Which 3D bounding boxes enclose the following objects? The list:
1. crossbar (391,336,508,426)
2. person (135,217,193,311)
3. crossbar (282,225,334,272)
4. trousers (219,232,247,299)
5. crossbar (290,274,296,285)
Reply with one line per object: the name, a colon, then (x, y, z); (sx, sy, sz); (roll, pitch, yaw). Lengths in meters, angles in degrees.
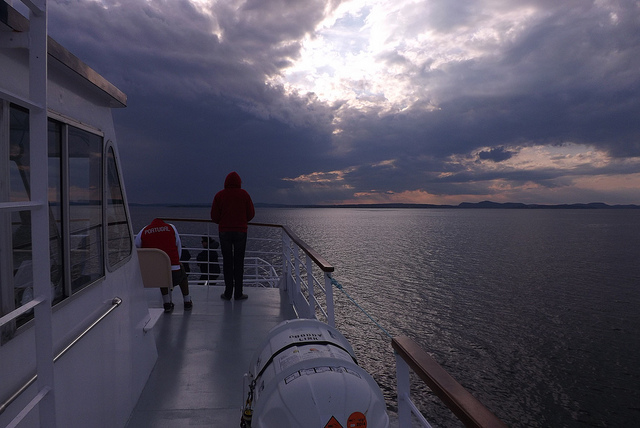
crossbar: (0.790, 1.095, 2.317); (0.257, 0.339, 0.825); (-2, 4, -23)
person: (-2.530, 0.821, 5.833); (0.759, 1.540, 0.970); (-9, -4, -38)
crossbar: (-0.293, 0.454, 5.236); (0.150, 0.105, 2.030); (8, 10, -26)
trousers: (-1.592, 0.846, 6.346); (0.491, 1.377, 0.379); (-3, -24, -7)
crossbar: (-0.531, 1.285, 6.825); (0.051, 0.063, 0.281); (-5, 39, -20)
